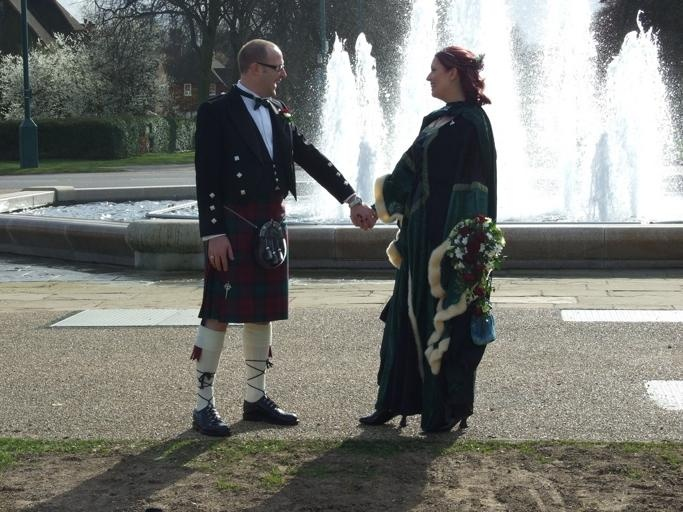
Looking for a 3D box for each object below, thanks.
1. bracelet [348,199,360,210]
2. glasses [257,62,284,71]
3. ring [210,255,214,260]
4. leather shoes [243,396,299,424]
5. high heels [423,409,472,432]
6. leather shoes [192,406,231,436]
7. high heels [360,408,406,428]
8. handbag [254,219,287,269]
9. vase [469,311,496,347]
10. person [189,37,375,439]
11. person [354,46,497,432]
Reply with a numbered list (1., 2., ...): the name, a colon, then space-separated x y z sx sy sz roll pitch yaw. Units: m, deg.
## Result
1. bracelet: 0.084 -0.302 4.633 0.055 0.022 0.056 -32 11 13
2. glasses: -0.375 -1.060 4.384 0.070 0.044 0.197 6 8 36
3. ring: -0.708 0.009 4.261 0.009 0.021 0.047 -4 8 -41
4. leather shoes: -0.425 0.888 4.528 0.368 0.144 0.132 0 0 15
5. high heels: 0.578 0.912 4.308 0.342 0.133 0.102 2 2 -24
6. leather shoes: -0.719 0.909 4.307 0.232 0.100 0.106 3 5 43
7. high heels: 0.218 0.911 4.424 0.304 0.119 0.098 1 3 1
8. handbag: -0.373 -0.067 4.386 0.095 0.271 0.250 6 7 32
9. vase: 0.790 0.382 4.300 0.115 0.194 0.150 9 23 21
10. person: -0.430 -0.142 4.480 0.893 2.167 0.554 -2 7 -28
11. person: 0.509 -0.097 4.322 0.717 2.112 0.458 3 6 9
